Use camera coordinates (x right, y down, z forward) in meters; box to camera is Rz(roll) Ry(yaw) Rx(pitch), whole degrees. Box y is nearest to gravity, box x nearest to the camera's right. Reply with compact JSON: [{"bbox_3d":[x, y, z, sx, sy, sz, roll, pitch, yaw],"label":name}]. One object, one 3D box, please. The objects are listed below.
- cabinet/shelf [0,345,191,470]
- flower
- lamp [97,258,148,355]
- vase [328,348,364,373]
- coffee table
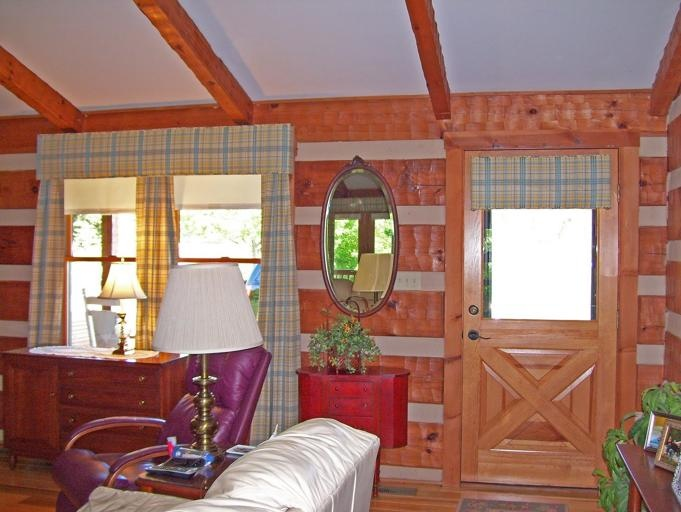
[{"bbox_3d":[-1.769,1.112,4.091,1.594,0.819,0.523,0,-4,10],"label":"cabinet/shelf"},{"bbox_3d":[0.027,0.636,4.119,0.521,0.322,0.488,0,4,-2],"label":"flower"},{"bbox_3d":[-1.780,0.404,4.601,0.359,0.789,0.472,4,-7,-18],"label":"lamp"},{"bbox_3d":[0.039,0.782,4.139,0.204,0.129,0.206,2,-1,33],"label":"vase"},{"bbox_3d":[-0.869,1.095,2.804,0.413,0.069,0.396,18,-1,-35],"label":"coffee table"}]
